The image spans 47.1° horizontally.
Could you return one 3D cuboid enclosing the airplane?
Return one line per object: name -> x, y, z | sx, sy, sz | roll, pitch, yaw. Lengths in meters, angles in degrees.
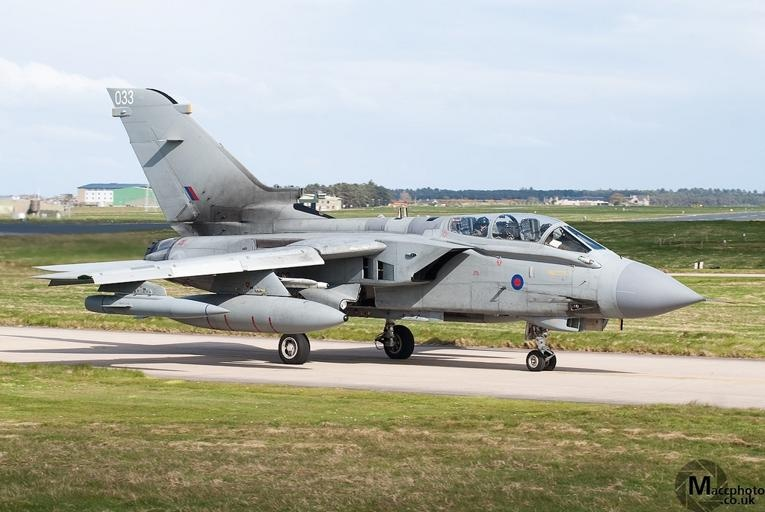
airplane -> -0.769, -0.068, 24.275 | 17.105, 3.466, 11.875 | 2, 5, 19
